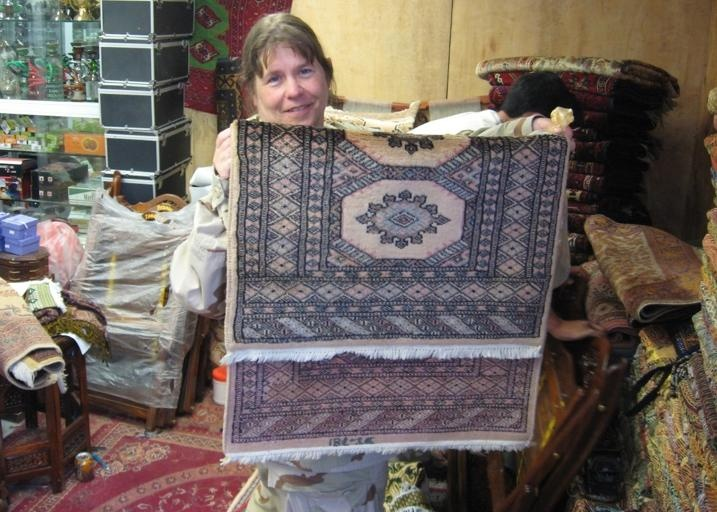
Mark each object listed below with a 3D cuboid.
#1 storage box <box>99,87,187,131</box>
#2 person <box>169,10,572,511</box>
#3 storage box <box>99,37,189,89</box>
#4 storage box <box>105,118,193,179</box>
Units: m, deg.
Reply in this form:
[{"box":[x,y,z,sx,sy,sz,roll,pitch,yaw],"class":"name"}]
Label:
[{"box":[-1.755,-1.210,5.602,0.495,0.301,0.593,4,20,6],"class":"storage box"},{"box":[-0.332,0.025,2.578,0.715,1.778,0.832,-5,18,-15],"class":"person"},{"box":[-1.694,-1.535,5.503,0.499,0.277,0.635,4,21,6],"class":"storage box"},{"box":[-1.718,-0.906,5.679,0.497,0.310,0.631,5,21,6],"class":"storage box"}]
